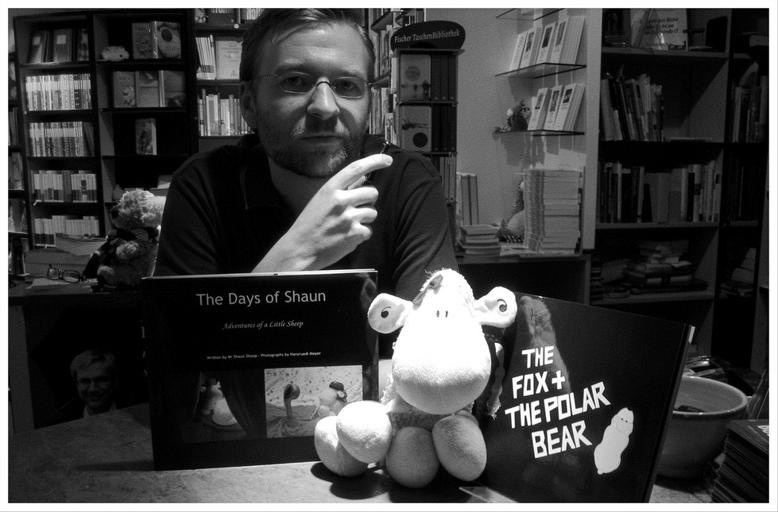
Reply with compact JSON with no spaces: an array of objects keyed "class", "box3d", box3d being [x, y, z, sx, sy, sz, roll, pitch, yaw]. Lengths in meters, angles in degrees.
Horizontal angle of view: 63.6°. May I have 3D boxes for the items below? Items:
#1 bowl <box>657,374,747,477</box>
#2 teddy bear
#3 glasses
[{"class":"bowl","box3d":[0.711,0.394,1.426,0.136,0.197,0.179,10,17,38]},{"class":"teddy bear","box3d":[0.066,0.278,1.437,0.480,0.445,0.314,-3,-2,14]},{"class":"glasses","box3d":[-0.221,-0.493,1.826,0.312,0.084,0.109,-2,13,-5]}]
